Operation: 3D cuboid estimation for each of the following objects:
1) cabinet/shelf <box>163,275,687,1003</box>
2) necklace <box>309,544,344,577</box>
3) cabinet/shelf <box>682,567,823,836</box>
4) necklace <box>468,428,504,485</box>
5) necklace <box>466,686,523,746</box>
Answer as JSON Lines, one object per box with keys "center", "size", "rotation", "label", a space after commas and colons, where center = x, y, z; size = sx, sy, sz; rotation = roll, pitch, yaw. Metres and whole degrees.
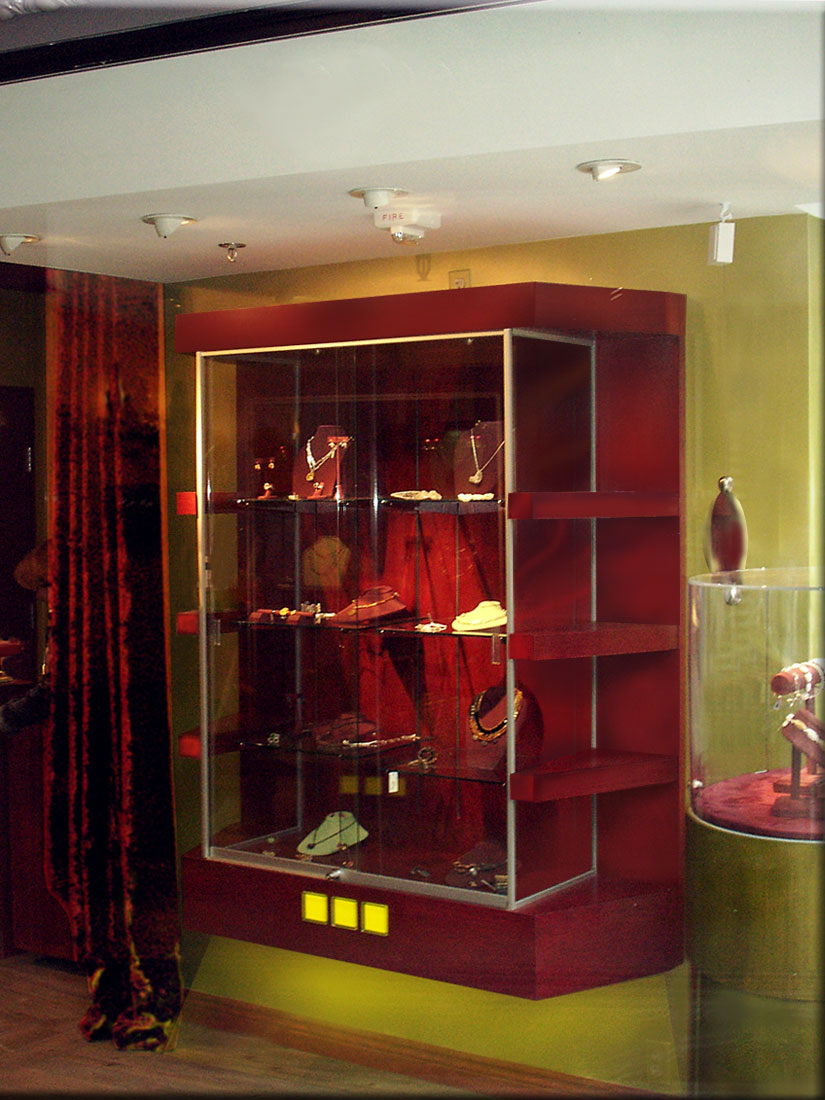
{"center": [0.001, 0.205, 2.406], "size": [1.209, 1.594, 0.452], "rotation": [0, -4, 26], "label": "cabinet/shelf"}
{"center": [-0.209, 0.024, 2.452], "size": [0.073, 0.089, 0.054], "rotation": [8, 11, 44], "label": "necklace"}
{"center": [0.652, 0.304, 1.973], "size": [0.131, 0.472, 0.348], "rotation": [3, -3, -28], "label": "cabinet/shelf"}
{"center": [0.144, -0.202, 2.217], "size": [0.094, 0.111, 0.113], "rotation": [2, -22, -1], "label": "necklace"}
{"center": [0.178, 0.370, 2.253], "size": [0.128, 0.135, 0.041], "rotation": [-1, -4, 31], "label": "necklace"}
